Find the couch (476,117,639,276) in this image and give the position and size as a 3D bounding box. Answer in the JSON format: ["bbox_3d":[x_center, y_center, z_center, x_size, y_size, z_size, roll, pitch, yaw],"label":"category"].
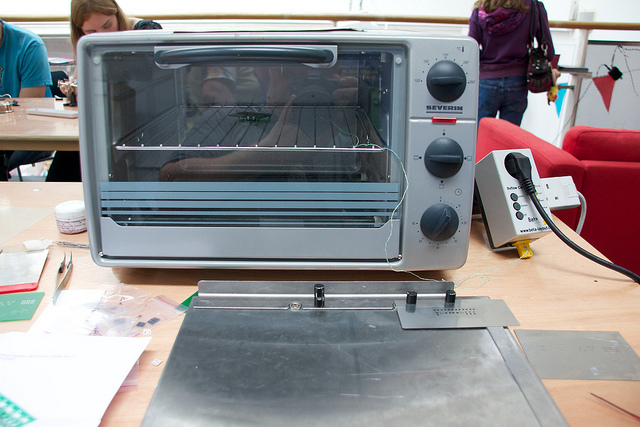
[{"bbox_3d":[0.805,-0.045,1.556,0.344,0.450,0.469,-26,40,-33],"label":"couch"}]

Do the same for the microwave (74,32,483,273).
[{"bbox_3d":[-0.087,-0.150,1.275,0.902,0.559,0.505,1,12,2],"label":"microwave"}]
